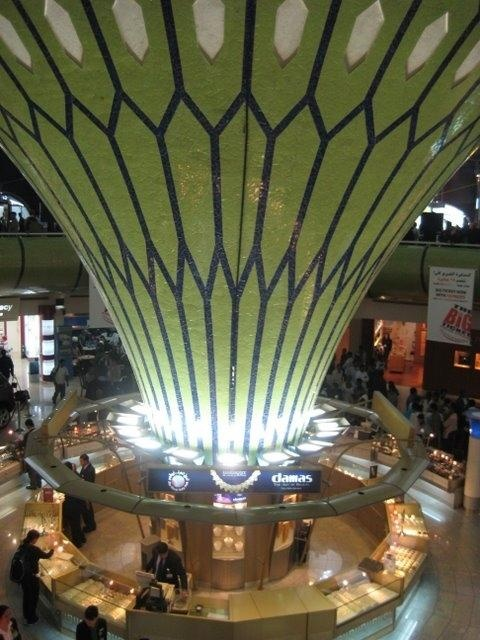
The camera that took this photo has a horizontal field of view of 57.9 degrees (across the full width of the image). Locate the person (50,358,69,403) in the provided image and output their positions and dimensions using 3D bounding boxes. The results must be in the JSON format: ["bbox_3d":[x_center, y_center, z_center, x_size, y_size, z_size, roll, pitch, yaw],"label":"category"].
[{"bbox_3d":[-5.490,1.894,13.104,0.409,1.318,2.351,2,-2,-23],"label":"person"}]

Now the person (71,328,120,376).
[{"bbox_3d":[-5.352,1.224,15.799,1.181,1.422,2.153,-2,2,-5],"label":"person"}]
